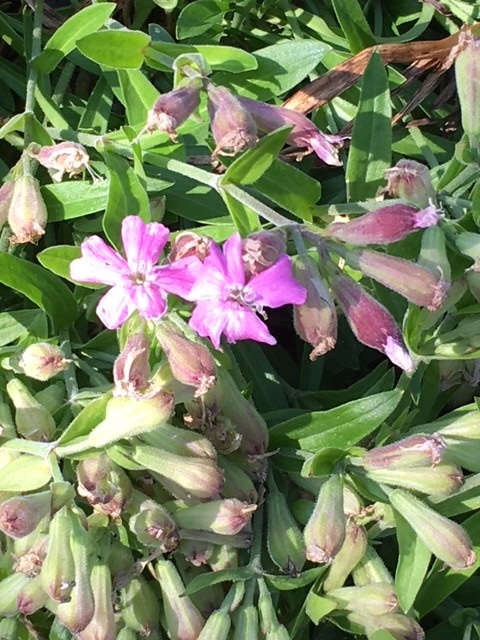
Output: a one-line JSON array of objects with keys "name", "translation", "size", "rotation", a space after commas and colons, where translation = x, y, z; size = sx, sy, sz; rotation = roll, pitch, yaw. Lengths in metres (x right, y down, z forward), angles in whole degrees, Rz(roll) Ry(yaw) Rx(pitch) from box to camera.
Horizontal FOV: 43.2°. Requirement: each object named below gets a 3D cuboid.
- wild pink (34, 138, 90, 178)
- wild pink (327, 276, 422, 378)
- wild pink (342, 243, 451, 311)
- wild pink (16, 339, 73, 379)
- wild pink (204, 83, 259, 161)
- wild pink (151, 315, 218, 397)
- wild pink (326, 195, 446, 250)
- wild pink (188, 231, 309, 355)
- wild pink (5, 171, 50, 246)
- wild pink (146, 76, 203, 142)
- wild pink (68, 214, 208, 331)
[{"name": "wild pink", "translation": [-0.367, -0.325, 1.234], "size": [0.119, 0.067, 0.059], "rotation": [0, 55, -2]}, {"name": "wild pink", "translation": [0.219, 0.004, 1.058], "size": [0.079, 0.078, 0.224], "rotation": [-44, 62, 14]}, {"name": "wild pink", "translation": [0.262, -0.076, 1.040], "size": [0.208, 0.055, 0.067], "rotation": [30, 46, 22]}, {"name": "wild pink", "translation": [-0.380, 0.077, 1.152], "size": [0.100, 0.087, 0.077], "rotation": [-9, 56, -8]}, {"name": "wild pink", "translation": [-0.033, -0.327, 1.009], "size": [0.060, 0.059, 0.161], "rotation": [13, 32, -25]}, {"name": "wild pink", "translation": [-0.079, 0.060, 0.965], "size": [0.055, 0.064, 0.133], "rotation": [1, 36, -47]}, {"name": "wild pink", "translation": [0.247, -0.162, 1.038], "size": [0.232, 0.066, 0.067], "rotation": [-19, 18, -4]}, {"name": "wild pink", "translation": [0.008, -0.037, 0.886], "size": [0.171, 0.132, 0.128], "rotation": [8, 55, 4]}, {"name": "wild pink", "translation": [-0.421, -0.214, 1.210], "size": [0.083, 0.066, 0.136], "rotation": [-1, 77, -41]}, {"name": "wild pink", "translation": [-0.109, -0.344, 0.987], "size": [0.058, 0.056, 0.151], "rotation": [8, 41, 29]}, {"name": "wild pink", "translation": [-0.161, -0.060, 0.972], "size": [0.197, 0.068, 0.174], "rotation": [16, 90, 12]}]
